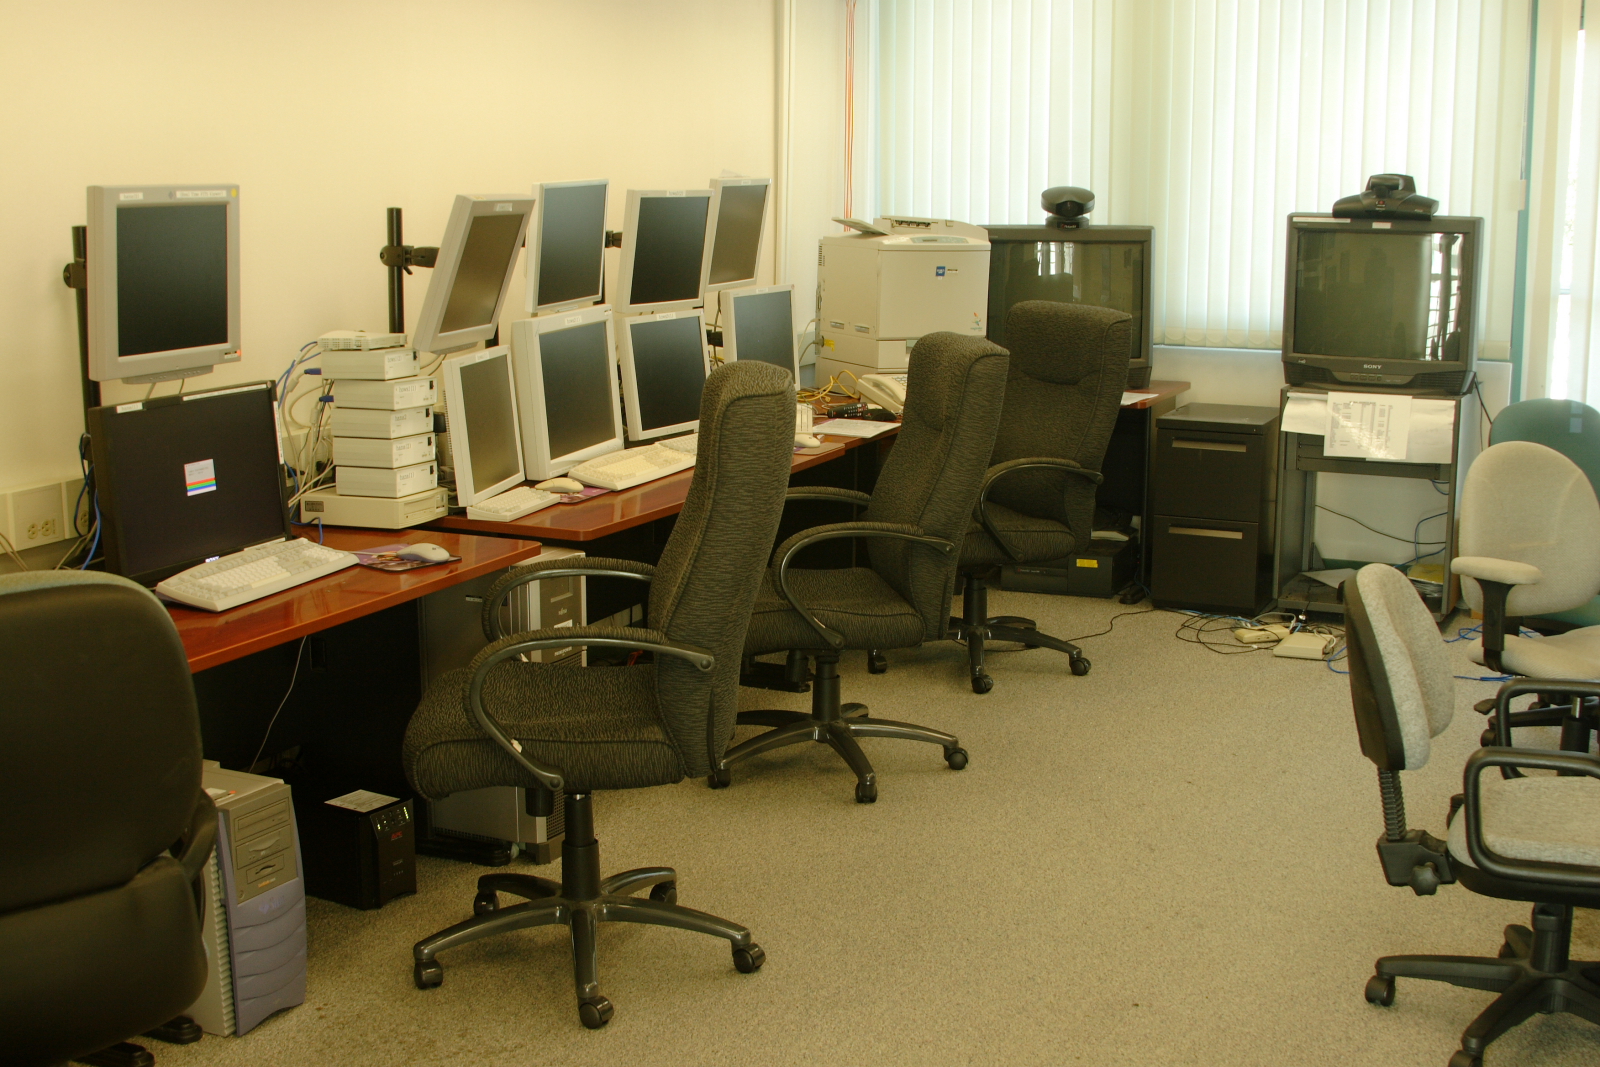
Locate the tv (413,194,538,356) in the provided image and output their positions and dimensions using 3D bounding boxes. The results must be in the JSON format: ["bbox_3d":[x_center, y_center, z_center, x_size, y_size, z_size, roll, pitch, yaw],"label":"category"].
[{"bbox_3d":[-1.032,-0.839,4.253,0.050,0.505,0.541,22,16,4],"label":"tv"}]

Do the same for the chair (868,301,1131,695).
[{"bbox_3d":[0.757,-0.169,5.396,1.015,1.495,0.939,0,13,-5],"label":"chair"}]

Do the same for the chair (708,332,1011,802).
[{"bbox_3d":[0.159,0.077,4.600,1.042,1.493,0.971,1,11,6],"label":"chair"}]

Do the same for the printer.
[{"bbox_3d":[0.491,-1.060,6.142,0.645,0.768,0.599,-4,18,-14],"label":"printer"}]

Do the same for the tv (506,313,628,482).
[{"bbox_3d":[-0.818,-0.459,4.596,0.077,0.495,0.576,-4,7,22],"label":"tv"}]

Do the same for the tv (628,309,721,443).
[{"bbox_3d":[-0.510,-0.652,5.086,0.045,0.387,0.446,5,16,35],"label":"tv"}]

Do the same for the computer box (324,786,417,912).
[{"bbox_3d":[-1.257,0.927,3.883,0.229,0.291,0.178,5,15,23],"label":"computer box"}]

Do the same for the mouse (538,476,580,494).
[{"bbox_3d":[-0.800,-0.163,4.455,0.106,0.030,0.061,2,9,10],"label":"mouse"}]

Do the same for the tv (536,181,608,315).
[{"bbox_3d":[-0.808,-1.007,4.662,0.069,0.348,0.491,8,10,16],"label":"tv"}]

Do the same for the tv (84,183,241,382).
[{"bbox_3d":[-1.705,-0.680,3.586,0.073,0.503,0.469,14,19,19],"label":"tv"}]

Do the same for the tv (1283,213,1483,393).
[{"bbox_3d":[2.540,-1.002,5.721,0.774,0.699,0.429,2,7,22],"label":"tv"}]

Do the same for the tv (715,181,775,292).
[{"bbox_3d":[-0.252,-1.217,5.404,0.141,0.424,0.386,4,15,20],"label":"tv"}]

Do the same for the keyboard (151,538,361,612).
[{"bbox_3d":[-1.444,0.110,3.546,0.190,0.032,0.329,13,19,25],"label":"keyboard"}]

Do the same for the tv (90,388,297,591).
[{"bbox_3d":[-1.644,-0.108,3.570,0.075,0.383,0.542,0,9,32],"label":"tv"}]

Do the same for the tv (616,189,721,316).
[{"bbox_3d":[-0.518,-1.095,5.129,0.130,0.444,0.510,11,18,27],"label":"tv"}]

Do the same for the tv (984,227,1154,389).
[{"bbox_3d":[1.340,-1.198,6.603,0.888,0.765,0.539,1,31,14],"label":"tv"}]

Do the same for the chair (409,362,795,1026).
[{"bbox_3d":[-0.575,0.414,3.629,1.071,1.575,0.982,-2,7,-16],"label":"chair"}]
